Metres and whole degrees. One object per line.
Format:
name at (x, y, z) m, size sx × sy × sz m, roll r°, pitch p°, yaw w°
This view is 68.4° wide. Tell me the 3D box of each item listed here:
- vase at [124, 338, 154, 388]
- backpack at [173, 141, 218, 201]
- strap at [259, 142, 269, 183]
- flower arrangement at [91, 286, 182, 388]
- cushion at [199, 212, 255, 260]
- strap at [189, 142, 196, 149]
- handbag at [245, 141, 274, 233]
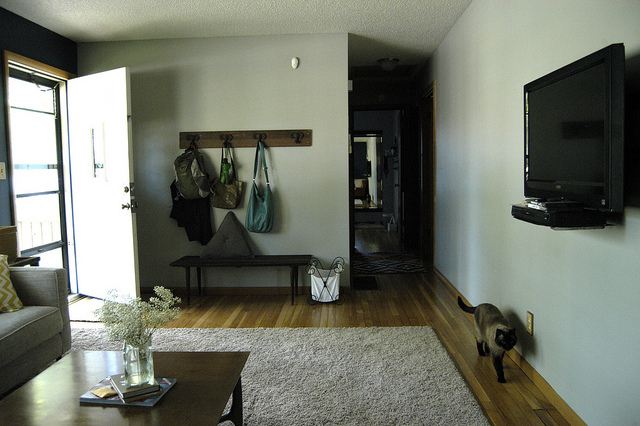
vase at (-1.184, 0.992, 3.067) m, size 0.182 × 0.265 × 0.181 m, roll -8°, pitch -14°, yaw -7°
backpack at (-1.499, -0.529, 5.556) m, size 0.461 × 0.706 × 0.400 m, roll -5°, pitch 7°, yaw 27°
strap at (-0.657, -0.637, 5.501) m, size 0.083 × 0.583 × 0.067 m, roll -4°, pitch -24°, yaw -24°
flower arrangement at (-1.191, 0.852, 3.123) m, size 0.511 × 0.599 × 0.469 m, roll -30°, pitch -32°, yaw 31°
cushion at (-1.070, 0.293, 5.587) m, size 0.519 × 0.481 × 0.153 m, roll 3°, pitch -20°, yaw 0°
strap at (-1.495, -0.804, 5.558) m, size 0.067 × 0.067 × 0.016 m, roll 5°, pitch 0°, yaw -2°
handbag at (-0.710, -0.298, 5.521) m, size 0.320 × 1.062 × 0.303 m, roll -1°, pitch 15°, yaw 1°
